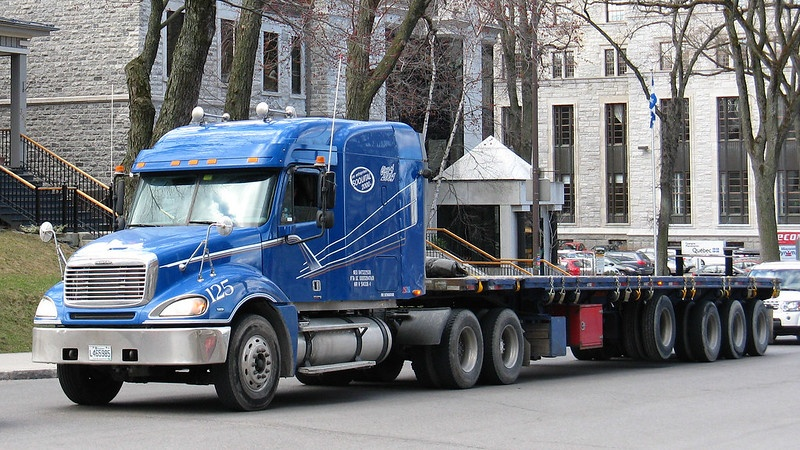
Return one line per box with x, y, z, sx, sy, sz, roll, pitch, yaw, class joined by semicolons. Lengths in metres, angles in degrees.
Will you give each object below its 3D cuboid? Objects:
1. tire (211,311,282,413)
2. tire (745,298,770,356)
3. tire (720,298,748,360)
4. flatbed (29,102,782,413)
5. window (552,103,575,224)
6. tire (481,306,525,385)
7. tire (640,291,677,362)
-3.270;2.844;22.409;0.914;2.219;2.012;-5;-10;45;tire
10.899;3.129;32.301;0.488;1.400;1.423;-3;15;31;tire
9.924;3.118;31.483;0.512;1.433;1.456;-6;14;31;tire
2.468;1.254;29.657;6.346;7.164;23.555;-5;-7;45;flatbed
13.130;-5.320;84.599;1.833;8.941;0.444;4;13;34;window
2.499;2.983;26.110;0.628;1.766;1.812;-4;3;38;tire
7.252;2.799;29.757;0.662;1.901;1.833;1;-10;31;tire
